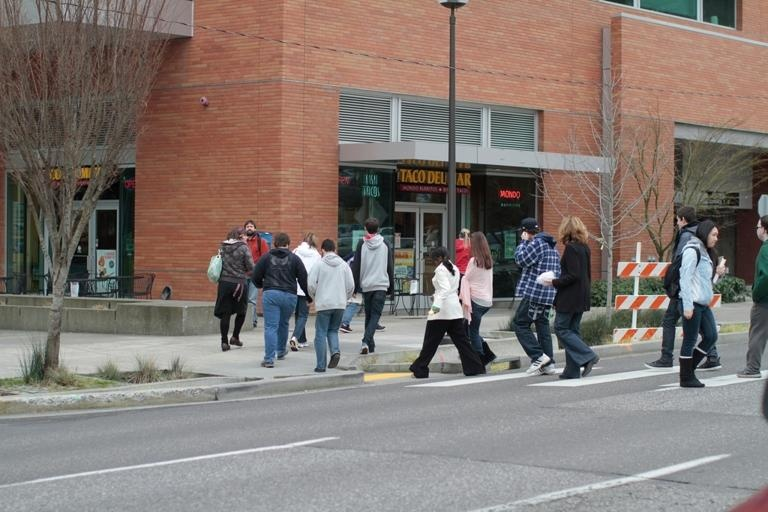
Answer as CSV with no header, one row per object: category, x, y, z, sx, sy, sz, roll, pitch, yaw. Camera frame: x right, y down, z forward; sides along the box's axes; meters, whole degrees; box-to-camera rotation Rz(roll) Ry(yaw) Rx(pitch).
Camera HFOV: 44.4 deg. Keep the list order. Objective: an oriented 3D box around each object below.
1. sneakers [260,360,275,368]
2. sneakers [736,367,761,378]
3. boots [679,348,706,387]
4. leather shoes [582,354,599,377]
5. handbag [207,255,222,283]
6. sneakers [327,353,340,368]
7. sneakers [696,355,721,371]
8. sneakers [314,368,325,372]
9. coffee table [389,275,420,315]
sneakers,-2.155,1.991,17.505,0.240,0.124,0.256,0,1,-12
sneakers,6.299,1.993,16.212,0.430,0.197,0.166,2,-2,7
boots,5.203,1.864,15.750,0.359,0.593,0.580,1,1,45
leather shoes,3.675,1.940,16.745,0.158,0.382,0.129,17,25,-22
handbag,-3.636,0.283,20.313,0.258,0.462,0.583,10,24,-6
sneakers,-0.927,1.985,17.559,0.142,0.325,0.139,10,32,-19
sneakers,6.014,1.968,17.331,0.576,0.261,0.200,1,1,3
sneakers,-1.157,2.060,17.158,0.208,0.067,0.161,0,1,0
coffee table,0.709,1.173,27.876,0.907,1.106,0.786,9,4,-22
